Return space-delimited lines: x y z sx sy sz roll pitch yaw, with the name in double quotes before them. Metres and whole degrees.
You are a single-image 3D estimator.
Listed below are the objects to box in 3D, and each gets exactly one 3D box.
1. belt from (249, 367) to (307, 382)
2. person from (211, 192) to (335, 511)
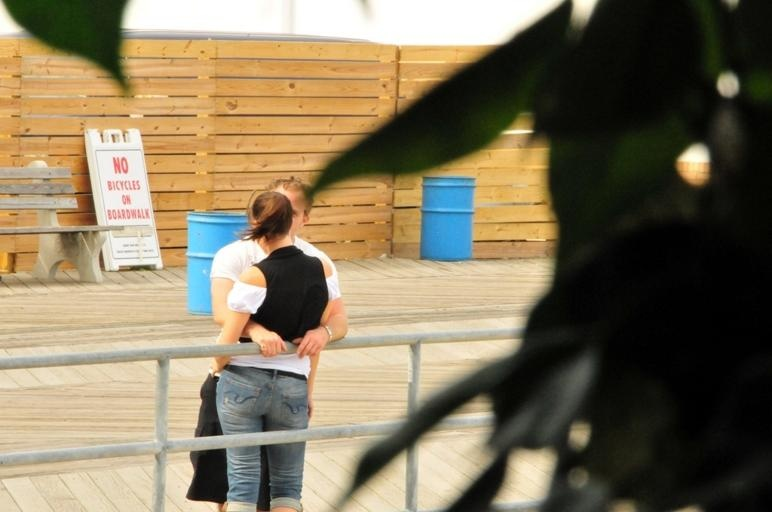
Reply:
"belt" -0.529 0.590 4.699 0.269 0.069 0.071 2 -10 -41
"person" -0.549 0.484 4.756 0.668 1.675 0.631 -5 -8 -9
